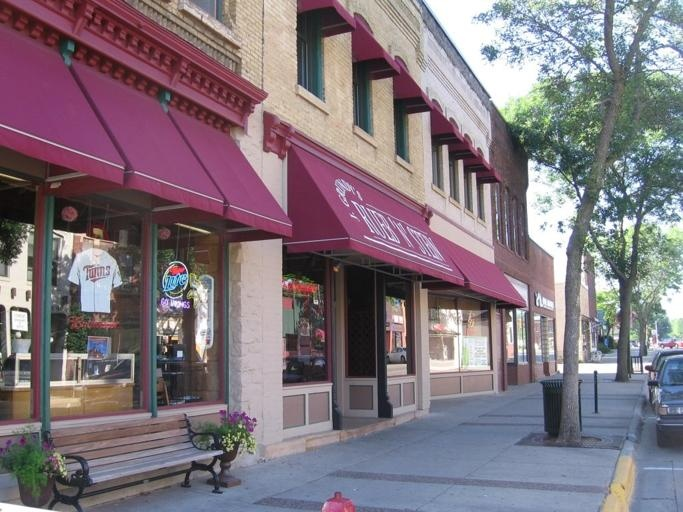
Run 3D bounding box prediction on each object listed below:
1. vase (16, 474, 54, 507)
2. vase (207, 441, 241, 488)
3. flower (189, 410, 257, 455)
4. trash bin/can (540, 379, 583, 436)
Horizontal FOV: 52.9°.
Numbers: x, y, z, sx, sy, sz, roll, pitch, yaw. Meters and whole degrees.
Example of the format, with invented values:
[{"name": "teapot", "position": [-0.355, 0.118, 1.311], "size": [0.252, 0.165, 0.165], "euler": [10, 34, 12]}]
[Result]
[{"name": "vase", "position": [-3.947, 3.055, 8.829], "size": [0.383, 0.354, 0.419], "euler": [1, -2, -1]}, {"name": "vase", "position": [-1.897, 3.340, 11.223], "size": [0.528, 0.854, 0.587], "euler": [-2, -5, 27]}, {"name": "flower", "position": [-1.934, 2.889, 11.238], "size": [0.781, 0.641, 0.813], "euler": [-10, -14, 37]}, {"name": "trash bin/can", "position": [4.834, 3.299, 15.632], "size": [1.081, 1.667, 1.181], "euler": [-2, -2, 14]}]
